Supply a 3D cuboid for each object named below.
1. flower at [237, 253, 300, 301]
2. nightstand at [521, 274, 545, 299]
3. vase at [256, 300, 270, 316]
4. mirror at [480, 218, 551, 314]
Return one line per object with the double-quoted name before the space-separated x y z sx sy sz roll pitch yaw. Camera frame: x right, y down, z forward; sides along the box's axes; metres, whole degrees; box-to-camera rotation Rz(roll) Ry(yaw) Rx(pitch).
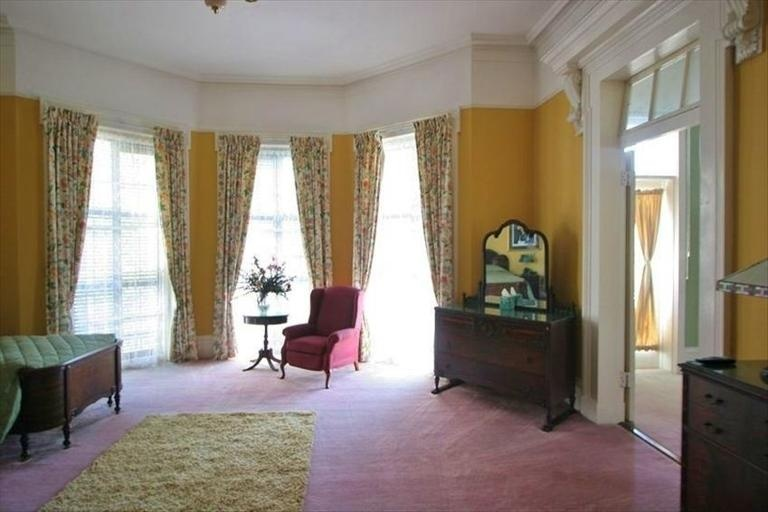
"flower" -1.752 0.313 8.664 0.677 0.687 0.764 11 17 9
"nightstand" 1.860 0.388 7.169 0.254 0.489 0.257 0 2 18
"vase" -1.764 0.760 8.328 0.183 0.144 0.190 1 4 6
"mirror" 1.681 0.180 7.304 1.122 1.610 0.057 -1 -4 30
